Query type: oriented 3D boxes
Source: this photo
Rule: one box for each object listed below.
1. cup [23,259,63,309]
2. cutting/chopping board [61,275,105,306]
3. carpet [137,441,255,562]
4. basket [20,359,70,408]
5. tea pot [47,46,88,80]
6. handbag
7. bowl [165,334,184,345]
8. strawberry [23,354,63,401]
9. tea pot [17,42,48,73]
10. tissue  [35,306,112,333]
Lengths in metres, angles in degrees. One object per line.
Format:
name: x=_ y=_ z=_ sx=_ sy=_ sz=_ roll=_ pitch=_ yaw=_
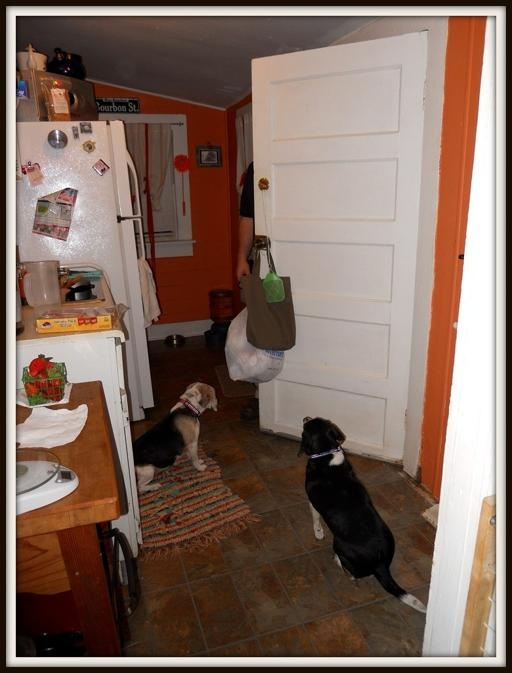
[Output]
cup: x=-0.937 y=-0.230 z=2.088 sx=0.150 sy=0.198 sz=0.114 roll=-8 pitch=15 yaw=-26
cutting/chopping board: x=-0.818 y=-0.214 z=2.265 sx=0.181 sy=0.058 sz=0.159 roll=4 pitch=35 yaw=-10
carpet: x=-0.320 y=0.843 z=2.482 sx=0.555 sy=0.038 sz=0.690 roll=-5 pitch=16 yaw=-15
basket: x=-0.660 y=0.137 z=1.536 sx=0.124 sy=0.156 sz=0.151 roll=-3 pitch=25 yaw=-17
tea pot: x=-1.231 y=-1.775 z=3.093 sx=0.235 sy=0.236 sz=0.373 roll=-7 pitch=16 yaw=-21
handbag: x=0.076 y=-0.228 z=2.794 sx=0.314 sy=0.690 sz=0.265 roll=2 pitch=14 yaw=13
bowl: x=-0.893 y=0.039 z=5.245 sx=0.128 sy=0.045 sz=0.135 roll=5 pitch=22 yaw=-2
strawberry: x=-0.662 y=0.127 z=1.558 sx=0.113 sy=0.145 sz=0.142 roll=-2 pitch=26 yaw=-11
tea pot: x=-1.324 y=-1.624 z=2.833 sx=0.186 sy=0.149 sz=0.216 roll=-7 pitch=29 yaw=-15
tissue : x=-0.698 y=-0.069 z=1.842 sx=0.278 sy=0.057 sz=0.278 roll=-6 pitch=16 yaw=-17
